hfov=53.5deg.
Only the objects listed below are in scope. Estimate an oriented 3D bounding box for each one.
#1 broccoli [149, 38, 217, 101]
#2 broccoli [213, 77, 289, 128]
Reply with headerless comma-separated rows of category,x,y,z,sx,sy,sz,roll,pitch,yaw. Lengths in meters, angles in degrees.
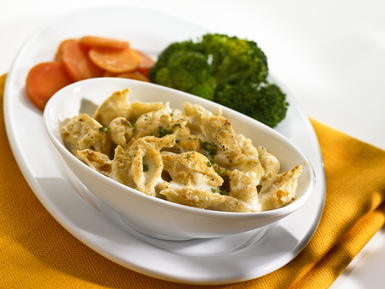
broccoli,-0.055,-0.543,2.789,0.388,0.509,0.334,14,84,5
broccoli,0.388,-0.270,2.524,0.386,0.202,0.292,19,27,22
